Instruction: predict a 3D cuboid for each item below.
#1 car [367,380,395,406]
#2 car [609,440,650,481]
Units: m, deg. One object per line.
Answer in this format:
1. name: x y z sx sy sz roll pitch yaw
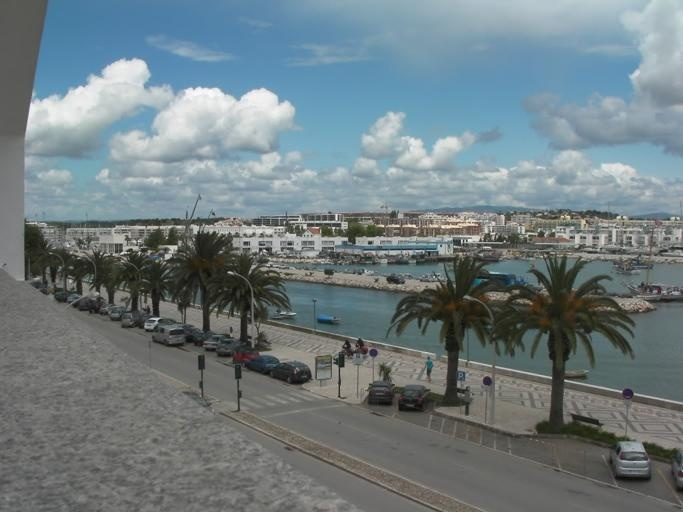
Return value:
1. car: 2.061 7.013 30.241 1.170 1.039 1.631 0 -2 19
2. car: 10.125 6.941 20.547 1.109 0.965 2.191 -3 3 19
